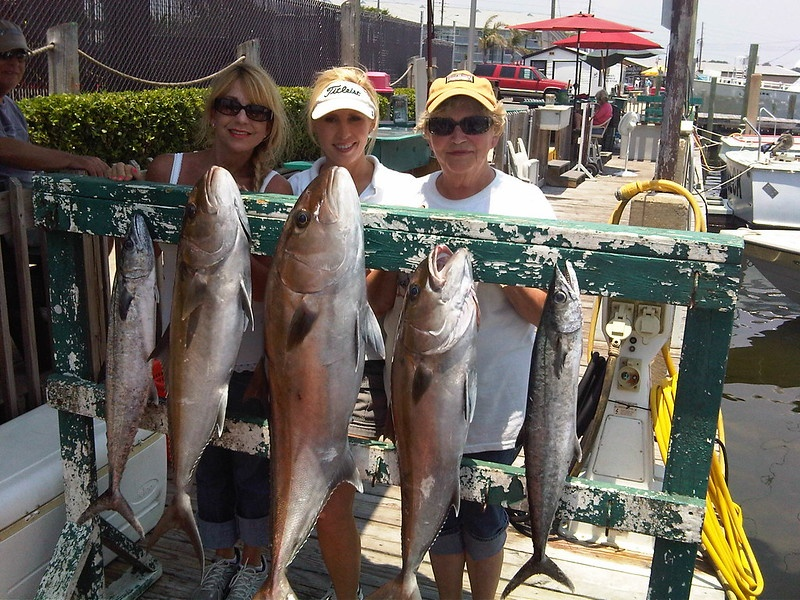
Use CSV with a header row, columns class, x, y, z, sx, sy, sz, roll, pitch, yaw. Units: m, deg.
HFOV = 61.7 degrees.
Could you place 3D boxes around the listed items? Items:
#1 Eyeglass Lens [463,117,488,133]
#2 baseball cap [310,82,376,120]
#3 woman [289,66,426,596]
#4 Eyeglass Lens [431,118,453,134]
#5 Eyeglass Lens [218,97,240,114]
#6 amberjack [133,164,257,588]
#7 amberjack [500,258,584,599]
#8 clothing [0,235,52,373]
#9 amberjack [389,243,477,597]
class,x,y,z,sx,sy,sz,roll,pitch,yaw
Eyeglass Lens,0.313,-0.733,2.806,0.068,0.037,0.080,-1,21,7
baseball cap,-0.276,-0.950,3.183,0.306,0.194,0.436,-4,15,-21
woman,-0.310,0.032,3.394,0.886,2.668,0.544,4,-4,-41
Eyeglass Lens,0.177,-0.736,2.837,0.069,0.037,0.077,5,4,21
Eyeglass Lens,-0.753,-0.853,2.947,0.114,0.078,0.025,8,12,15
amberjack,-0.651,0.237,2.198,0.329,1.330,0.167,6,11,9
amberjack,0.473,0.407,2.051,0.194,1.019,0.258,7,12,15
clothing,-2.445,0.009,4.386,0.240,0.872,1.387,-3,15,-31
amberjack,0.094,0.377,2.031,0.254,1.084,0.176,4,11,-1
